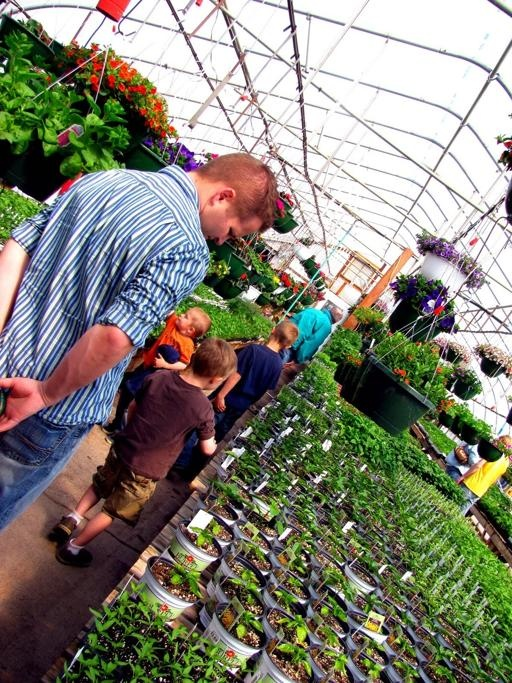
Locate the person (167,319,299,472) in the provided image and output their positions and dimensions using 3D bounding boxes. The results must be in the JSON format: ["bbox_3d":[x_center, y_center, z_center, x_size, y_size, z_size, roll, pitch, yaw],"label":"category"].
[{"bbox_3d":[-0.187,0.523,4.515,0.578,1.664,0.541,31,5,-27],"label":"person"}]

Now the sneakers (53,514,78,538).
[{"bbox_3d":[-1.028,0.987,2.539,0.075,0.087,0.188,52,-31,4],"label":"sneakers"}]

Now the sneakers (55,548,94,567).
[{"bbox_3d":[-0.972,1.156,2.579,0.094,0.084,0.196,27,3,32],"label":"sneakers"}]
